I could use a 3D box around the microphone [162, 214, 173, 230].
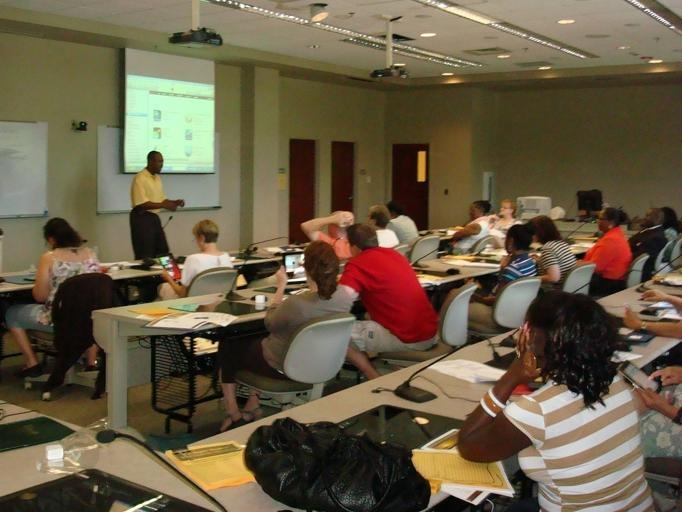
[{"bbox_3d":[-2.982,-0.600,8.605,0.421,0.084,0.074,-36,0,42],"label":"microphone"}]

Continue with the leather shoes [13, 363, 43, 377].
[{"bbox_3d":[-2.657,0.960,4.229,0.283,0.084,0.095,1,2,25],"label":"leather shoes"}]

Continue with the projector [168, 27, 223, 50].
[{"bbox_3d":[-1.485,-2.282,5.125,0.346,0.248,0.365,-8,8,-41],"label":"projector"}]

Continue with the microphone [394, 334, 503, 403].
[{"bbox_3d":[0.337,0.441,1.941,0.167,0.283,0.072,19,26,3],"label":"microphone"}]

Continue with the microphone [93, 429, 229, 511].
[{"bbox_3d":[-0.464,0.559,1.290,0.442,0.052,0.136,29,-11,0],"label":"microphone"}]
